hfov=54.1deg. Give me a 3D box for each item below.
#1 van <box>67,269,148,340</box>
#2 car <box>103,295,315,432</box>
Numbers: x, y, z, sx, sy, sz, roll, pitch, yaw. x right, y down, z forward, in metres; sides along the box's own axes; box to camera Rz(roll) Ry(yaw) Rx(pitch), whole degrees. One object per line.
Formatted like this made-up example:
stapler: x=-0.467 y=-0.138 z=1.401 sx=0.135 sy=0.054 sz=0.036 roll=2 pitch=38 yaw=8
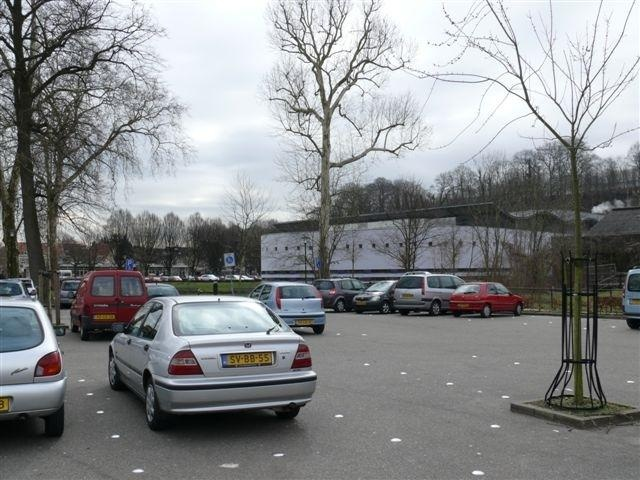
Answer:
van: x=-6.035 y=1.952 z=18.058 sx=1.799 sy=1.845 sz=3.406 roll=0 pitch=2 yaw=-25
car: x=-1.832 y=1.727 z=9.863 sx=1.499 sy=1.225 sz=2.970 roll=1 pitch=-1 yaw=-24
